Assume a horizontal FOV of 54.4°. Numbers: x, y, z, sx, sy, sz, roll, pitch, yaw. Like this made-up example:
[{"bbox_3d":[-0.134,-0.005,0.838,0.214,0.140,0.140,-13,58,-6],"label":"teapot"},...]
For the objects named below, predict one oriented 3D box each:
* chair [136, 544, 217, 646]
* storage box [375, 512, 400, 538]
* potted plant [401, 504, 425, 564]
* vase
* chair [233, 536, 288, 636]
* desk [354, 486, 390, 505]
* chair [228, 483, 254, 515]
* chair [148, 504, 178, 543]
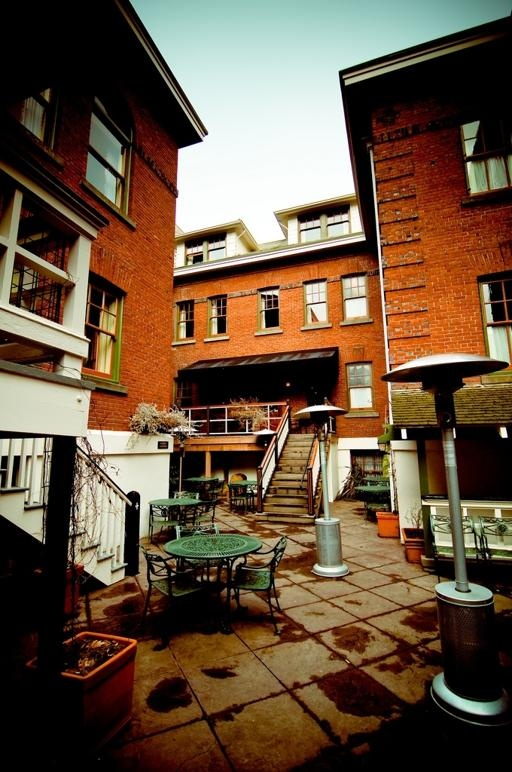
[{"bbox_3d":[-0.925,2.157,5.509,0.510,0.748,0.462,-25,-38,14],"label":"chair"},{"bbox_3d":[2.501,2.582,9.338,0.347,0.327,0.432,-2,-3,17],"label":"storage box"},{"bbox_3d":[2.514,2.268,7.754,0.379,0.887,0.483,5,7,19],"label":"potted plant"},{"bbox_3d":[-1.140,2.116,3.490,0.509,0.609,0.674,1,-3,2],"label":"vase"},{"bbox_3d":[-0.013,2.154,5.562,0.639,0.866,0.655,0,2,21],"label":"chair"},{"bbox_3d":[3.000,2.756,12.612,1.091,0.373,1.122,-3,-9,20],"label":"desk"},{"bbox_3d":[-0.353,2.965,13.192,0.782,0.850,0.764,-1,-15,3],"label":"chair"},{"bbox_3d":[-1.837,2.566,9.737,0.520,0.637,1.455,1,-3,-9],"label":"chair"}]
